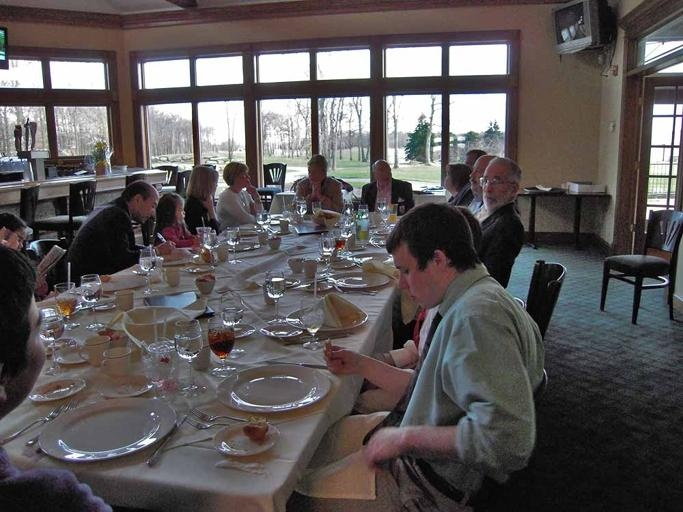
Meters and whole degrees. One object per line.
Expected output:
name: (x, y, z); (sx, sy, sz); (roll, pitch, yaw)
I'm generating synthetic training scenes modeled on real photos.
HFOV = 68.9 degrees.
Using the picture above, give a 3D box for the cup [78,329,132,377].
cup: (-0.829, 0.314, 1.793); (0.124, 0.140, 0.198); (0, 24, -3)

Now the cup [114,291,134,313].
cup: (-0.976, 0.204, 2.231); (0.060, 0.094, 0.094); (13, 14, 13)

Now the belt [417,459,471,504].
belt: (0.294, 0.667, 1.465); (0.125, 0.031, 0.124); (41, 1, -23)

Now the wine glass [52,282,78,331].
wine glass: (-1.195, 0.212, 2.162); (0.080, 0.195, 0.084); (-2, 8, -4)

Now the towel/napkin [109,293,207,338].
towel/napkin: (-0.765, 0.257, 1.963); (0.299, 0.055, 0.319); (3, 12, -18)

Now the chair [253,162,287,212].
chair: (-1.138, -1.222, 8.826); (0.468, 0.945, 0.566); (3, 17, 3)

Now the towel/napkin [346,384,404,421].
towel/napkin: (0.145, 0.638, 2.143); (0.169, 0.068, 0.147); (-7, 21, 18)

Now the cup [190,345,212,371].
cup: (-0.505, 0.367, 1.810); (0.068, 0.086, 0.073); (0, 3, 0)

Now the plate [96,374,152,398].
plate: (-0.713, 0.432, 1.645); (0.087, 0.016, 0.092); (1, 17, 0)

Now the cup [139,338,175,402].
cup: (-0.609, 0.385, 1.670); (0.103, 0.177, 0.098); (-3, -13, -1)

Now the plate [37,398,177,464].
plate: (-0.677, 0.498, 1.444); (0.362, 0.041, 0.368); (-2, 10, -31)

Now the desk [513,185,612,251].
desk: (3.218, -0.858, 7.456); (1.326, 1.058, 0.828); (0, 17, 5)

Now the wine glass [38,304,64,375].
wine glass: (-1.068, 0.316, 1.837); (0.089, 0.223, 0.084); (-6, -1, -1)
